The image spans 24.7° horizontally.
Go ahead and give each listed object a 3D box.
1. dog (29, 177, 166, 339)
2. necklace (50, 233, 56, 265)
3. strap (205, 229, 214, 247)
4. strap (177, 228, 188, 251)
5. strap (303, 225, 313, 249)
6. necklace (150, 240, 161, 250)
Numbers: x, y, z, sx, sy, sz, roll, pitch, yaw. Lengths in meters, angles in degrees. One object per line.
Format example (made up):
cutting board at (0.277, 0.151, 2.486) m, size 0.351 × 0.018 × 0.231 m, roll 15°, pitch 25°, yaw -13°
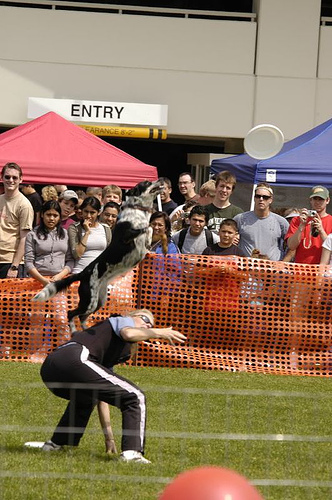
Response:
dog at (-0.246, 0.085, 3.570) m, size 0.853 × 0.512 × 0.285 m, roll -33°, pitch -28°, yaw 30°
necklace at (-1.126, -0.002, 7.609) m, size 0.060 × 0.288 × 0.104 m, roll 4°, pitch 12°, yaw -16°
strap at (0.454, -0.118, 7.875) m, size 0.099 × 0.153 × 0.161 m, roll 7°, pitch 11°, yaw -2°
strap at (0.173, -0.117, 7.904) m, size 0.121 × 0.161 × 0.167 m, roll 4°, pitch -34°, yaw 4°
strap at (1.503, -0.140, 8.025) m, size 0.069 × 0.214 × 0.223 m, roll 9°, pitch 7°, yaw 15°
necklace at (-0.098, -0.040, 7.508) m, size 0.093 × 0.130 × 0.224 m, roll 7°, pitch 11°, yaw -1°
